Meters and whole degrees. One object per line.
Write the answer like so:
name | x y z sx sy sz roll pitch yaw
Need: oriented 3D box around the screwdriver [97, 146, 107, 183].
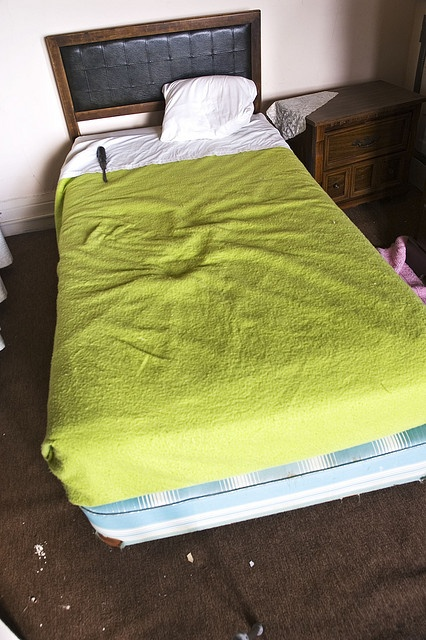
screwdriver | -0.518 -0.723 2.279 0.054 0.038 0.265 -6 48 -9

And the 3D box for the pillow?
pillow | -0.021 -1.047 2.431 0.384 0.103 0.353 -6 85 2
